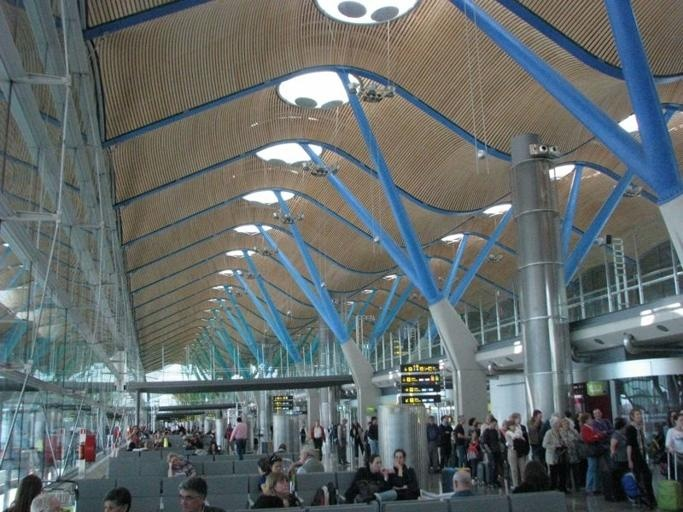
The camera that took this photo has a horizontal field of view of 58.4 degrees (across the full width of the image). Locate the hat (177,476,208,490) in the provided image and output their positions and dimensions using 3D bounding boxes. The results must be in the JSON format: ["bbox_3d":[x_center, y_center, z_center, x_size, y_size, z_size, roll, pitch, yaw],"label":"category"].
[{"bbox_3d":[-1.907,2.992,7.930,0.303,0.220,0.318,-13,-21,26],"label":"hat"}]
